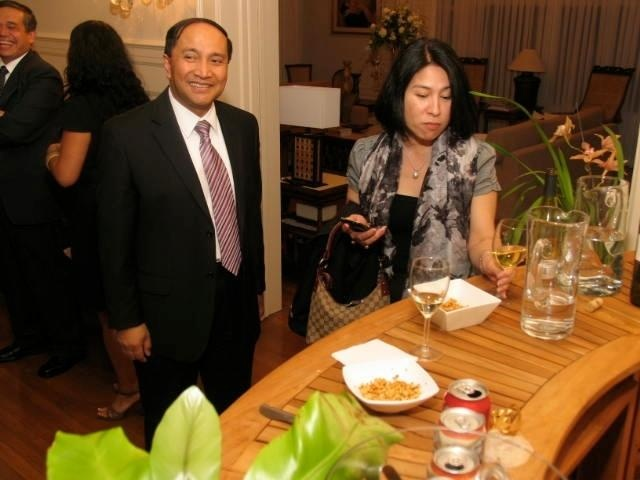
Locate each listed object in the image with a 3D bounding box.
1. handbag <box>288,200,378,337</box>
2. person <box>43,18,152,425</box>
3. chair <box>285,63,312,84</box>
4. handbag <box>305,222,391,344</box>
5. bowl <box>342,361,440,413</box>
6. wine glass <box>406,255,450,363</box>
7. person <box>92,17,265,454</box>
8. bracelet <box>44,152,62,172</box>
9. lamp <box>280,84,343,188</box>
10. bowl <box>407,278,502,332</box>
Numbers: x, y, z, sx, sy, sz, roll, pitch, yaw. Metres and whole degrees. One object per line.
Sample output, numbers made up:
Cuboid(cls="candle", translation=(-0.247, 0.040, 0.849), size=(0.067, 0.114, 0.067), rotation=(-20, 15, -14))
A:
Cuboid(cls="handbag", translation=(0.001, 0.178, 2.437), size=(0.515, 0.517, 0.321), rotation=(26, -4, 33))
Cuboid(cls="person", translation=(-1.341, -0.029, 2.957), size=(0.626, 2.363, 0.631), rotation=(-3, 9, -10))
Cuboid(cls="chair", translation=(-0.385, -3.033, 9.008), size=(0.435, 0.280, 0.400), rotation=(-4, 23, -7))
Cuboid(cls="handbag", translation=(0.124, 0.171, 2.237), size=(0.400, 0.454, 0.363), rotation=(-3, 22, -6))
Cuboid(cls="bowl", translation=(0.194, 0.405, 1.333), size=(0.246, 0.078, 0.176), rotation=(-5, 24, -10))
Cuboid(cls="wine glass", translation=(0.346, 0.200, 1.583), size=(0.121, 0.273, 0.302), rotation=(5, 23, 14))
Cuboid(cls="person", translation=(-0.553, 0.011, 2.122), size=(0.746, 1.758, 0.435), rotation=(-12, 24, -27))
Cuboid(cls="bracelet", translation=(-1.602, -0.457, 2.925), size=(0.105, 0.107, 0.102), rotation=(-1, 16, 21))
Cuboid(cls="lamp", translation=(-0.108, -0.944, 4.403), size=(0.513, 0.940, 0.280), rotation=(12, 18, 32))
Cuboid(cls="bowl", translation=(0.499, 0.225, 1.694), size=(0.165, 0.068, 0.190), rotation=(-17, 35, -18))
